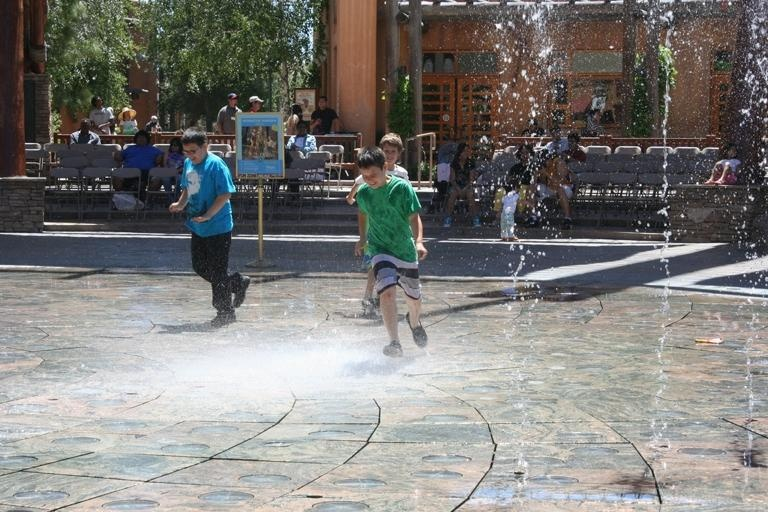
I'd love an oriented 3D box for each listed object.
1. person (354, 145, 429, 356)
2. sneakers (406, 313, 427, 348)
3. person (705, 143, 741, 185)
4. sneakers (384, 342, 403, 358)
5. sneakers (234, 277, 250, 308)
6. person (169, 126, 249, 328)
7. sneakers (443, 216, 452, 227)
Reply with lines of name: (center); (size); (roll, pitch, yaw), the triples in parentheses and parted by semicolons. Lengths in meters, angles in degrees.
person: (0.098, -0.054, 12.538); (0.745, 2.188, 0.675); (0, 14, -1)
sneakers: (0.364, 0.830, 12.902); (0.170, 0.399, 0.166); (-20, 6, 24)
person: (6.314, -1.697, 21.948); (0.518, 0.690, 0.773); (7, 15, 26)
sneakers: (0.097, 0.992, 12.556); (0.194, 0.203, 0.209); (1, 14, 1)
sneakers: (-1.702, 0.468, 14.194); (0.150, 0.404, 0.182); (6, 10, -8)
person: (-2.030, -0.355, 13.966); (0.815, 2.307, 0.759); (-2, 14, -9)
sneakers: (1.266, -0.663, 23.180); (0.181, 0.185, 0.171); (-3, 22, -8)
